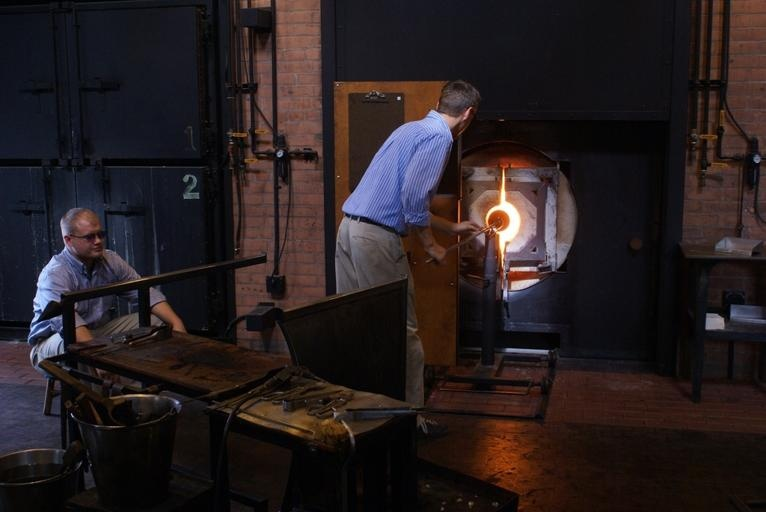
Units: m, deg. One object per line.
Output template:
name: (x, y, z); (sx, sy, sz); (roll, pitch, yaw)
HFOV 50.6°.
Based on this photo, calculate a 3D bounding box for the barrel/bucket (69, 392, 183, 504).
barrel/bucket: (-1.362, 1.031, 4.582); (0.575, 0.532, 0.627); (4, 3, 0)

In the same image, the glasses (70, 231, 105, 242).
glasses: (-2.307, -0.160, 6.282); (0.211, 0.083, 0.087); (-3, 9, -34)

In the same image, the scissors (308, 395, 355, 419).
scissors: (-0.294, 0.817, 4.439); (0.101, 0.033, 0.185); (10, 17, 27)
